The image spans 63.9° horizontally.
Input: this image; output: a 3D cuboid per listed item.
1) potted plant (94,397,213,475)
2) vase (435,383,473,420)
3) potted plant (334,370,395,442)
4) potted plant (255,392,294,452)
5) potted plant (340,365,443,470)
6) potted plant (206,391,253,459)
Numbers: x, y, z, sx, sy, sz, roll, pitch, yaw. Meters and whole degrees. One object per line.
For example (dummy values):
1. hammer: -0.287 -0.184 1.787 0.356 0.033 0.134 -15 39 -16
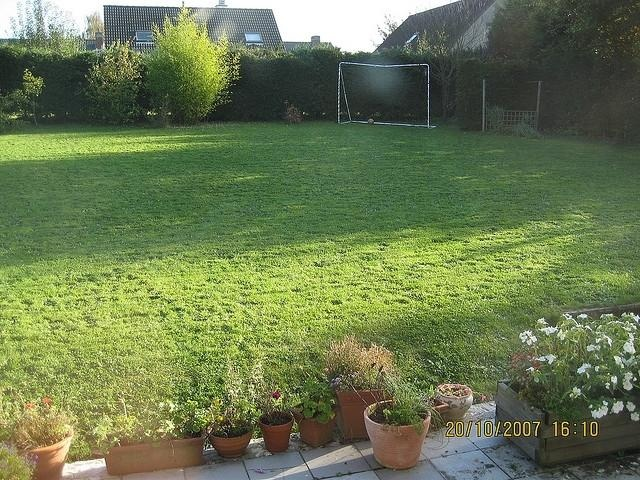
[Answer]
1. potted plant: -1.163 1.265 3.586 0.476 0.270 0.555 -1 4 -19
2. vase: 0.968 1.267 3.956 0.319 0.223 0.310 16 -7 -38
3. potted plant: 0.284 1.166 3.879 0.524 0.427 0.440 0 -4 -12
4. potted plant: -0.317 1.276 3.687 0.250 0.376 0.300 -6 12 -16
5. potted plant: 0.496 1.161 3.627 0.415 0.706 0.645 0 4 -28
6. potted plant: -0.623 1.316 3.647 0.368 0.393 0.323 4 -1 -11
